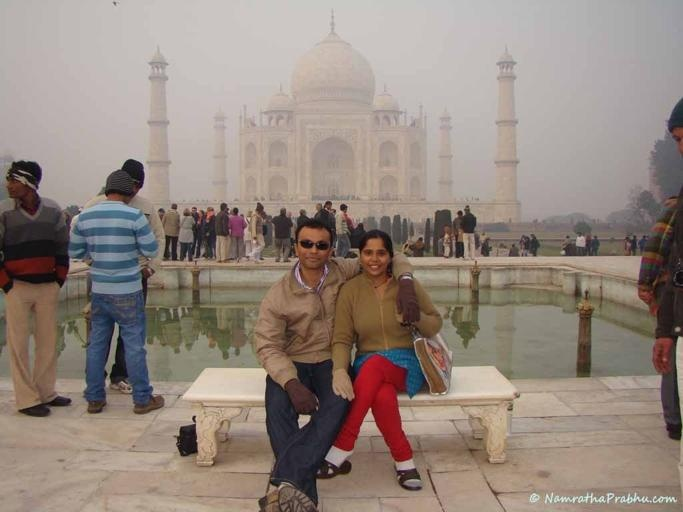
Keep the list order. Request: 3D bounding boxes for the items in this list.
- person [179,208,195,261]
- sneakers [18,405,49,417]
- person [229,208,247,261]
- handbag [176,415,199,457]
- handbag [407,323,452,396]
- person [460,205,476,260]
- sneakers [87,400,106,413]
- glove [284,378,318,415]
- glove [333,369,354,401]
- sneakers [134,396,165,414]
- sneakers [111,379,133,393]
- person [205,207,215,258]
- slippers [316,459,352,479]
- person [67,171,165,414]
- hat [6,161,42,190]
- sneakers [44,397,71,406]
[{"bbox_3d":[-2.722,-0.357,12.521,0.302,0.913,0.864,-3,4,-12],"label":"person"},{"bbox_3d":[-1.753,0.891,4.089,0.177,0.079,0.067,0,2,-2],"label":"sneakers"},{"bbox_3d":[-1.759,-0.371,12.162,0.299,0.887,1.506,-2,4,-8],"label":"person"},{"bbox_3d":[-0.795,0.951,3.771,0.128,0.166,0.188,-1,-6,1],"label":"handbag"},{"bbox_3d":[0.472,0.527,3.655,0.188,0.331,0.286,-1,4,8],"label":"handbag"},{"bbox_3d":[2.176,-0.414,12.528,0.259,0.762,0.233,0,-6,-15],"label":"person"},{"bbox_3d":[-1.433,0.882,4.158,0.045,0.055,0.126,1,7,2],"label":"sneakers"},{"bbox_3d":[-0.200,0.689,3.456,0.106,0.124,0.200,-23,33,-32],"label":"glove"},{"bbox_3d":[0.008,0.625,3.448,0.076,0.039,0.144,-10,39,-16],"label":"glove"},{"bbox_3d":[-1.137,0.885,4.210,0.069,0.078,0.180,5,10,26],"label":"sneakers"},{"bbox_3d":[-1.395,0.831,4.556,0.201,0.091,0.083,-3,-1,21],"label":"sneakers"},{"bbox_3d":[-2.369,-0.400,12.840,0.175,0.915,0.630,-3,4,-12],"label":"person"},{"bbox_3d":[-0.039,1.050,3.504,0.193,0.072,0.072,6,-12,-32],"label":"slippers"},{"bbox_3d":[-1.314,0.213,4.158,0.504,1.426,0.286,-3,4,-15],"label":"person"},{"bbox_3d":[-1.826,-0.466,4.083,0.183,0.173,0.265,-4,4,-25],"label":"hat"},{"bbox_3d":[-1.692,0.873,4.246,0.135,0.058,0.050,6,0,-12],"label":"sneakers"}]
